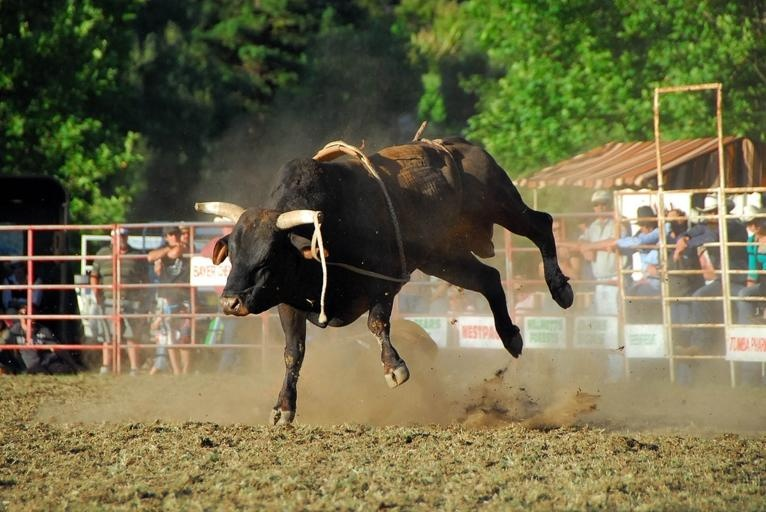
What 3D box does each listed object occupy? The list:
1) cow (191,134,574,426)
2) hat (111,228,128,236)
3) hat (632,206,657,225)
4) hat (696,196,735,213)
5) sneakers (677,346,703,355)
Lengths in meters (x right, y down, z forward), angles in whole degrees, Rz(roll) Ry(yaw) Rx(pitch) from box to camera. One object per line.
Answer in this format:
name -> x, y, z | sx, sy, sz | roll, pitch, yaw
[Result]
cow -> 0.319, 0.071, 20.196 | 7.162, 4.173, 2.721 | -15, 9, -41
hat -> -4.888, -0.440, 22.944 | 0.362, 0.156, 0.253 | 1, -5, -35
hat -> 4.953, -0.779, 23.437 | 0.352, 0.245, 0.481 | -22, -13, 14
hat -> 6.687, -1.063, 24.943 | 0.555, 0.173, 0.585 | 0, 0, -26
sneakers -> 5.660, 1.767, 22.877 | 0.524, 0.243, 0.171 | 1, -12, 10
